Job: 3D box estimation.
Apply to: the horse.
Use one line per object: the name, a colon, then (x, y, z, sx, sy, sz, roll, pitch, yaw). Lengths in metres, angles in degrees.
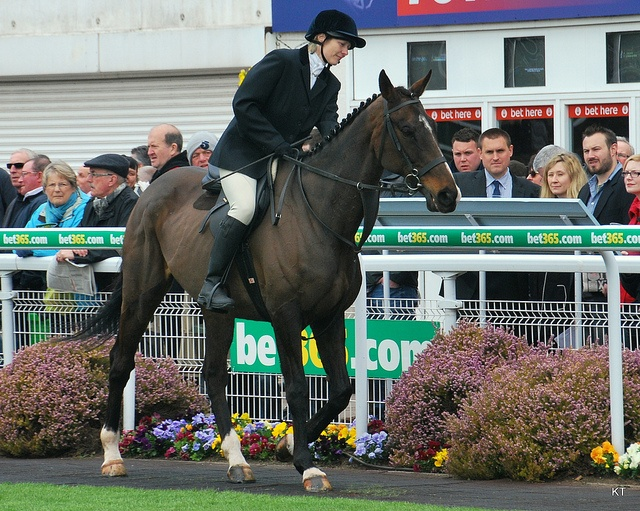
horse: (-0.637, 0.416, 15.777, 1.345, 3.201, 4.856, 4, -6, -45)

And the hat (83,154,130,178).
hat: (-2.044, -0.849, 17.495, 0.328, 0.142, 0.253, 0, 0, -24)

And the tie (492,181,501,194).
tie: (1.746, -0.650, 17.917, 0.088, 0.160, 0.033, -3, -3, 21)

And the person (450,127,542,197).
person: (1.748, -0.906, 17.972, 0.841, 0.704, 0.426, -2, -2, 4)

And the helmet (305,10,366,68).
helmet: (0.117, -1.821, 15.148, 0.484, 0.454, 0.339, -2, -2, -1)

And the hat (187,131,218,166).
hat: (-1.219, -1.078, 18.595, 0.346, 0.392, 0.444, -5, 8, 1)

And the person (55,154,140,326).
person: (-2.134, 0.006, 17.672, 0.835, 1.921, 0.739, 0, 7, 10)
